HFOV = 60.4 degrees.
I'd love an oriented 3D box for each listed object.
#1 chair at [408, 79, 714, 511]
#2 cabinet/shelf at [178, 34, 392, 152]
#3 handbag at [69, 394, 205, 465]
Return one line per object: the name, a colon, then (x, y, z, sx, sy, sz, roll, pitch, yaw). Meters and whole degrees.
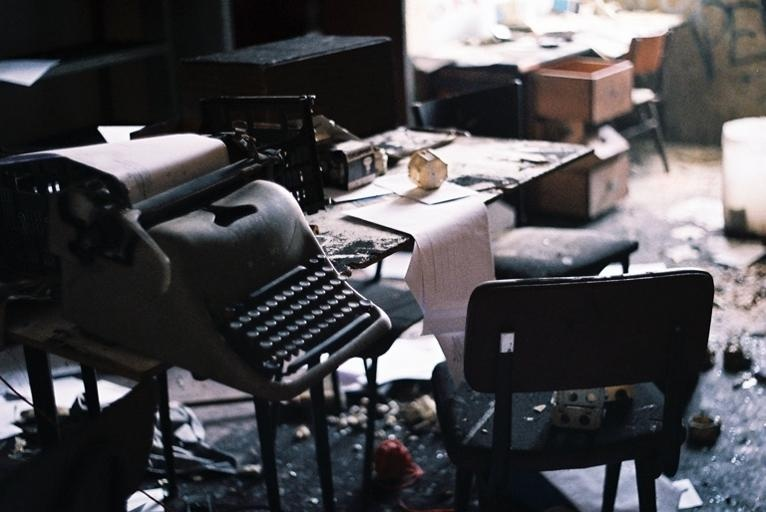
chair: (0.513, 0.156, 1.993, 0.719, 1.270, 0.867, -4, 40, -1)
cabinet/shelf: (-0.400, -0.767, 2.834, 0.470, 0.594, 0.895, 14, 23, 39)
handbag: (-0.949, 0.715, 2.682, 0.453, 0.123, 0.377, 7, 12, -3)
